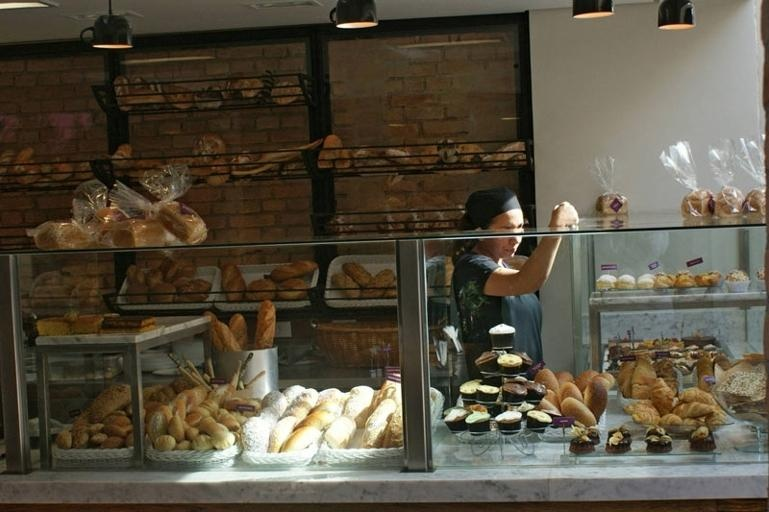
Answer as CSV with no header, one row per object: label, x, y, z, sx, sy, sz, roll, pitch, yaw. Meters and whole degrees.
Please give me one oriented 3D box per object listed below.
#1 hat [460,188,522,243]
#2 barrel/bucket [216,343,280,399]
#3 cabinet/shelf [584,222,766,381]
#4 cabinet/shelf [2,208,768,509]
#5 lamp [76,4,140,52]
hat,0.419,-0.164,4.669,0.241,0.133,0.163,-14,8,20
barrel/bucket,-0.525,0.454,4.492,0.264,0.149,0.212,0,-1,-1
cabinet/shelf,1.154,0.117,4.461,0.809,0.592,0.488,0,6,9
cabinet/shelf,0.123,0.460,4.396,2.713,1.056,0.367,-3,6,0
lamp,-1.540,-1.237,6.272,0.392,0.309,0.232,1,7,10
